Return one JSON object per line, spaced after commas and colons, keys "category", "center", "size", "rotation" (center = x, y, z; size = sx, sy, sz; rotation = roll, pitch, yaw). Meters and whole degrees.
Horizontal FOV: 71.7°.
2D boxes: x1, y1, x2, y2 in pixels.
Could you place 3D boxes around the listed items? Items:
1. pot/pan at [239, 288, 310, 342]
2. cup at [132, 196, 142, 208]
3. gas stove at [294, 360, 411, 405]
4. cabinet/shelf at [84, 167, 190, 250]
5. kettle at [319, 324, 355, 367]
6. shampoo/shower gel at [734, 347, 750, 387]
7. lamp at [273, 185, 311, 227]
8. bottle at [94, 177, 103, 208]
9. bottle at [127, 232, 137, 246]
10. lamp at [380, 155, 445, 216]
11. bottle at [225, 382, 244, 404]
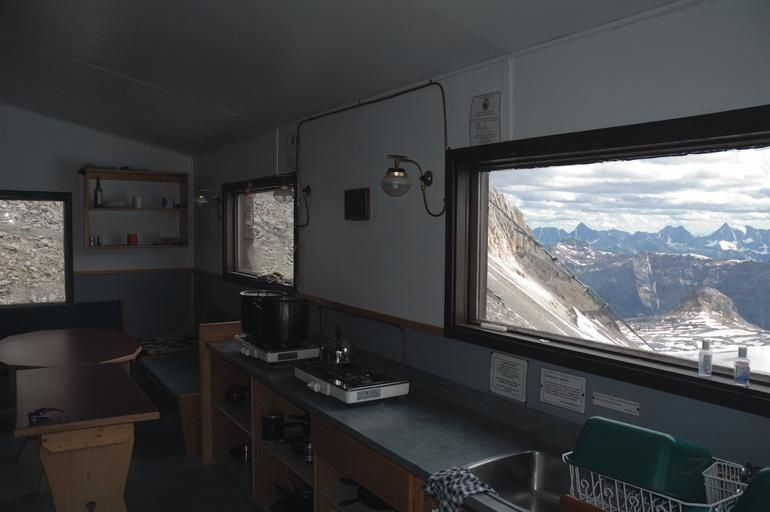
{"category": "pot/pan", "center": [-0.826, 0.432, 3.913], "size": [0.362, 0.216, 0.408], "rotation": [5, -3, -44]}
{"category": "cup", "center": [-2.997, -0.646, 6.437], "size": [0.118, 0.153, 0.288], "rotation": [-3, 4, -24]}
{"category": "gas stove", "center": [-0.230, 0.769, 3.250], "size": [0.678, 0.138, 0.392], "rotation": [3, 5, 42]}
{"category": "cabinet/shelf", "center": [-3.056, -0.580, 6.451], "size": [1.073, 0.819, 0.348], "rotation": [0, 5, -27]}
{"category": "kettle", "center": [-0.343, 0.573, 3.532], "size": [0.250, 0.264, 0.252], "rotation": [1, 2, -16]}
{"category": "shampoo/shower gel", "center": [1.504, 0.458, 2.235], "size": [0.049, 0.147, 0.055], "rotation": [1, 4, 25]}
{"category": "lamp", "center": [-0.760, -0.408, 4.405], "size": [0.296, 0.346, 0.193], "rotation": [-2, 4, -12]}
{"category": "bottle", "center": [-3.354, -0.734, 6.228], "size": [0.103, 0.347, 0.304], "rotation": [-3, 5, -28]}
{"category": "bottle", "center": [-3.053, -0.196, 6.425], "size": [0.127, 0.159, 0.169], "rotation": [-3, -3, 31]}
{"category": "lamp", "center": [0.187, -0.430, 3.262], "size": [0.402, 0.363, 0.176], "rotation": [3, 2, 9]}
{"category": "bottle", "center": [-1.188, 1.092, 4.243], "size": [0.143, 0.133, 0.139], "rotation": [1, 3, -6]}
